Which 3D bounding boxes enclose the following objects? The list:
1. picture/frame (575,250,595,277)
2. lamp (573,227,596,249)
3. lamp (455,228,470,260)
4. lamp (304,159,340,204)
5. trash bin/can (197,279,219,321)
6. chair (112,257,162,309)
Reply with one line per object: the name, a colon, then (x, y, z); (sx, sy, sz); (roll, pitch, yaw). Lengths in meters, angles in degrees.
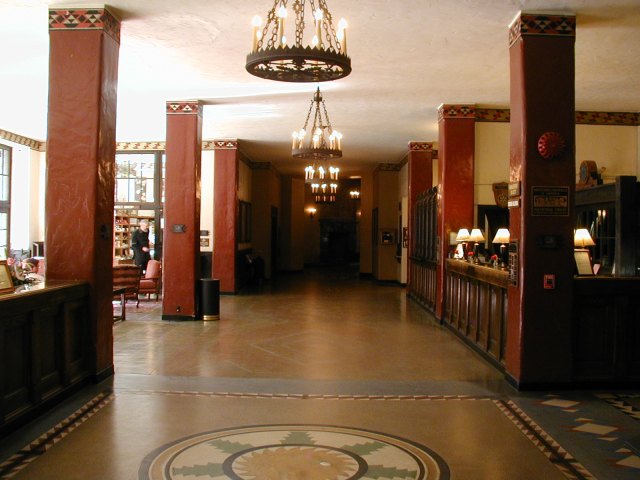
picture/frame: (3.230, 0.262, 5.997); (0.303, 0.298, 0.158); (0, 3, -10)
lamp: (3.518, -0.033, 6.590); (0.265, 0.282, 0.279); (-4, 9, 9)
lamp: (2.612, 0.050, 9.106); (0.228, 0.531, 0.733); (1, 3, 15)
lamp: (0.093, -1.772, 15.675); (1.345, 1.334, 1.340); (0, 10, -2)
trash bin/can: (-2.184, 1.152, 9.716); (0.391, 0.775, 0.326); (0, 3, -10)
chair: (-4.227, 0.983, 11.502); (0.933, 1.259, 1.168); (-1, 11, -16)
